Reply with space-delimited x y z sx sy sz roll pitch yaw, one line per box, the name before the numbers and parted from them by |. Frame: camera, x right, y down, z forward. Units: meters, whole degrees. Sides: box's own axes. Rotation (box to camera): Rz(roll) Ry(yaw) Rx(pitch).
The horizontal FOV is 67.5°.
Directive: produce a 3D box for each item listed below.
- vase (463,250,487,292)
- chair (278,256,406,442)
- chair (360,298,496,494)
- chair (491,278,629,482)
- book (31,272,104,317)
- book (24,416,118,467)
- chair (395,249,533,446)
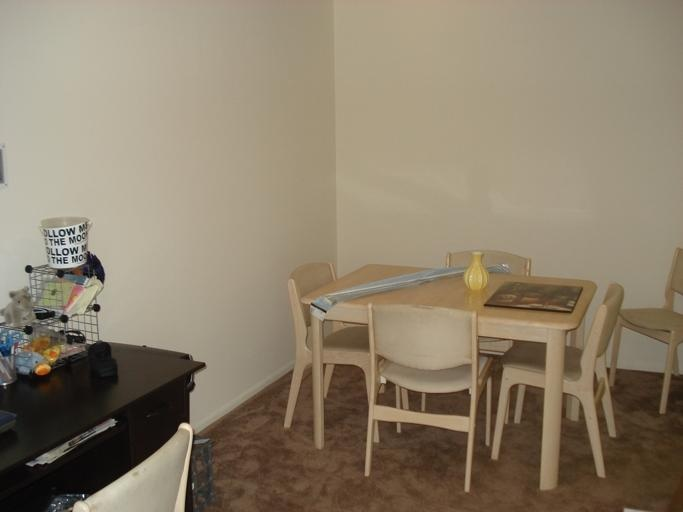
vase | 0.740 0.091 2.808 0.140 0.208 0.149 -2 -19 20
chair | 0.136 0.434 3.257 0.757 1.237 0.762 2 19 14
chair | 0.444 0.615 2.567 0.610 0.907 0.480 3 13 16
chair | 1.125 0.625 2.701 0.567 0.844 0.525 3 9 35
book | -1.057 0.148 1.992 0.171 0.179 0.131 13 -6 -21
book | -0.821 0.571 1.569 0.247 0.072 0.065 -31 29 -26
chair | 0.596 0.683 3.110 0.629 1.082 0.706 6 21 32
